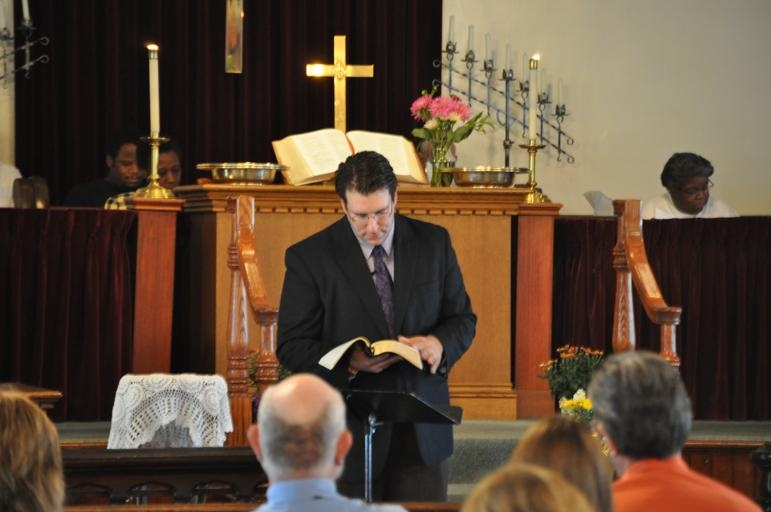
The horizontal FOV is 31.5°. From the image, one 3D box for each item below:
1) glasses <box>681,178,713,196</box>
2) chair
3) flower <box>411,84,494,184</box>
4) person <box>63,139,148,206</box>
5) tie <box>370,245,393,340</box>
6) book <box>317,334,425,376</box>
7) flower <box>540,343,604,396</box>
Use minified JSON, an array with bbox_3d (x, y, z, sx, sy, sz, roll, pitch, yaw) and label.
[{"bbox_3d":[2.944,-0.650,12.968,0.197,0.079,0.207,-8,-1,-2],"label":"glasses"},{"bbox_3d":[-1.675,1.217,10.732,0.963,0.561,0.288,2,2,-9],"label":"chair"},{"bbox_3d":[0.494,-1.034,12.018,0.652,0.695,0.612,10,-2,31],"label":"flower"},{"bbox_3d":[-2.757,-0.813,13.805,1.021,0.874,0.582,-3,10,-41],"label":"person"},{"bbox_3d":[-0.027,0.257,9.640,0.134,0.644,0.121,-8,-4,-5],"label":"tie"},{"bbox_3d":[-0.087,0.684,9.361,0.731,0.238,0.187,2,2,-3],"label":"book"},{"bbox_3d":[1.698,1.000,11.583,0.376,0.457,0.462,-3,-7,8],"label":"flower"}]
